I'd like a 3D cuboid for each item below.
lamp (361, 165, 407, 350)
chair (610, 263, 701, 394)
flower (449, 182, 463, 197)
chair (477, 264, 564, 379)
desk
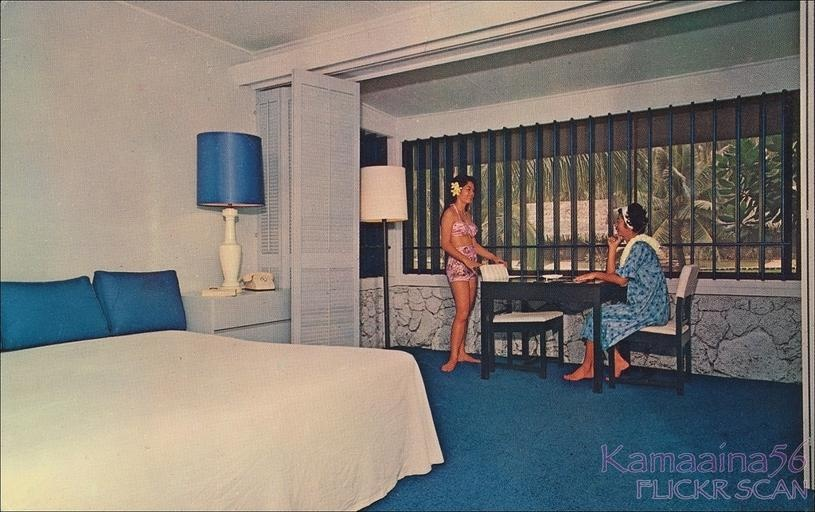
[{"bbox_3d":[-0.267,0.058,7.127,0.526,2.215,0.658,-2,13,-3],"label":"lamp"},{"bbox_3d":[2.353,0.609,5.878,0.688,1.212,1.161,4,13,24],"label":"chair"},{"bbox_3d":[0.492,-0.708,6.535,0.055,0.128,0.131,-14,-16,-37],"label":"flower"},{"bbox_3d":[1.188,0.634,6.289,0.777,0.998,0.666,1,4,40],"label":"chair"},{"bbox_3d":[1.256,0.874,5.804,1.031,1.014,1.386,-1,-2,33],"label":"desk"}]
